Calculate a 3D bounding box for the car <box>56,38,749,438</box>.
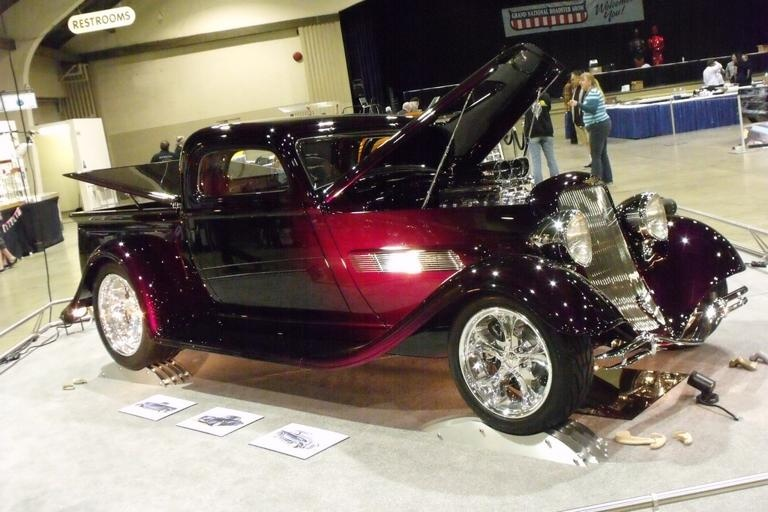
[{"bbox_3d":[-0.188,-0.010,3.474,4.089,1.777,2.360,3,12,26],"label":"car"}]
